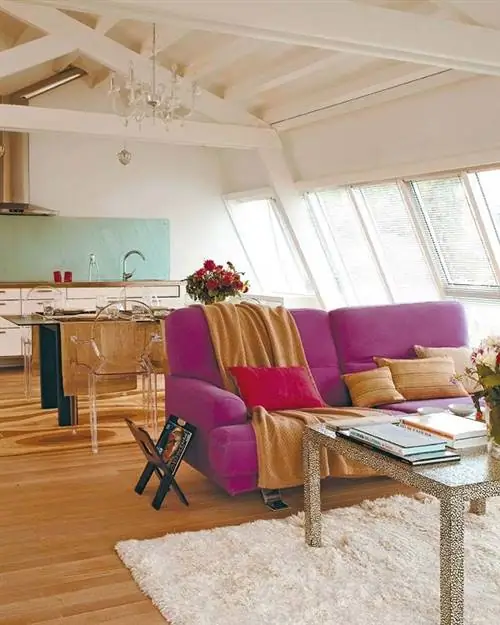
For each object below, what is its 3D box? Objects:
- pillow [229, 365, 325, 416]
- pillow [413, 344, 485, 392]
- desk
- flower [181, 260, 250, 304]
[{"bbox_3d":[0.178,0.397,2.759,0.492,0.152,0.321,-1,-1,-25],"label":"pillow"},{"bbox_3d":[1.229,0.291,3.253,0.462,0.393,0.128,-4,-7,-27],"label":"pillow"},{"bbox_3d":[-1.154,0.337,4.064,1.110,0.602,1.043,-2,3,-28],"label":"desk"},{"bbox_3d":[-0.257,-0.208,4.141,0.515,0.361,0.461,-7,9,-34],"label":"flower"}]
